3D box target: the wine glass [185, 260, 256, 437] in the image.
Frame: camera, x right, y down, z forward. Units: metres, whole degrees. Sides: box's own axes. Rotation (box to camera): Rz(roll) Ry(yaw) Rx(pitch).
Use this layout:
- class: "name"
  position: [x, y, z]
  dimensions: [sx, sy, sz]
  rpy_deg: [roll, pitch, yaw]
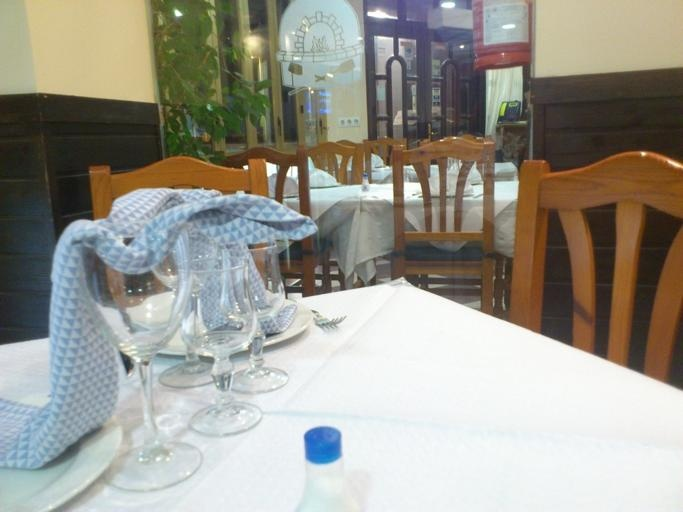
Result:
- class: "wine glass"
  position: [-0.154, 0.108, 0.676]
  dimensions: [0.097, 0.230, 0.090]
  rpy_deg: [-9, 18, -30]

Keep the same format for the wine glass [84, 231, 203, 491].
- class: "wine glass"
  position: [-0.234, 0.108, 0.619]
  dimensions: [0.112, 0.315, 0.107]
  rpy_deg: [-7, 18, -24]

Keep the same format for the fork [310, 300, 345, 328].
- class: "fork"
  position: [-0.025, 0.097, 0.940]
  dimensions: [0.022, 0.021, 0.106]
  rpy_deg: [-11, 15, -22]

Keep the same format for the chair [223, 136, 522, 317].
- class: "chair"
  position: [0.492, -0.281, 2.734]
  dimensions: [1.002, 0.552, 0.825]
  rpy_deg: [4, 18, 12]
